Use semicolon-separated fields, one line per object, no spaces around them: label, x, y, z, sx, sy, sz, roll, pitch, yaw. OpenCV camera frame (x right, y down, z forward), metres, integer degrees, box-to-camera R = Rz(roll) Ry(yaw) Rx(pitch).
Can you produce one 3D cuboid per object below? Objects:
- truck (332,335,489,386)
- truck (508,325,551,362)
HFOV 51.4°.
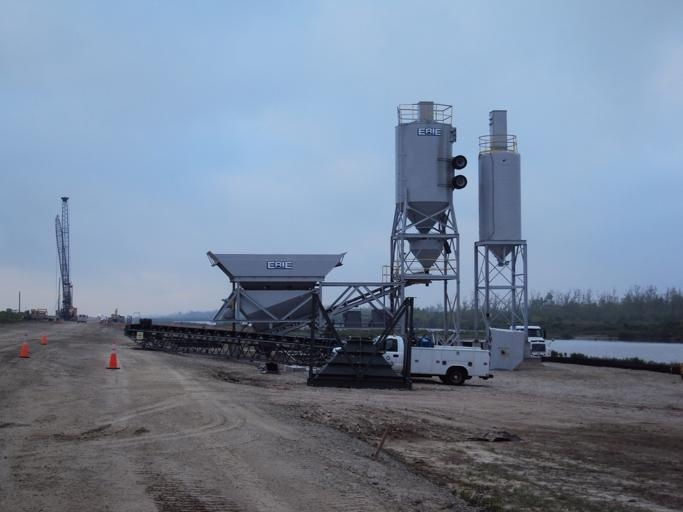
truck;3.953;5.017;33.999;5.892;2.353;3.091;2;-5;-1
truck;14.123;6.118;51.599;2.652;2.646;4.901;-1;-12;1
